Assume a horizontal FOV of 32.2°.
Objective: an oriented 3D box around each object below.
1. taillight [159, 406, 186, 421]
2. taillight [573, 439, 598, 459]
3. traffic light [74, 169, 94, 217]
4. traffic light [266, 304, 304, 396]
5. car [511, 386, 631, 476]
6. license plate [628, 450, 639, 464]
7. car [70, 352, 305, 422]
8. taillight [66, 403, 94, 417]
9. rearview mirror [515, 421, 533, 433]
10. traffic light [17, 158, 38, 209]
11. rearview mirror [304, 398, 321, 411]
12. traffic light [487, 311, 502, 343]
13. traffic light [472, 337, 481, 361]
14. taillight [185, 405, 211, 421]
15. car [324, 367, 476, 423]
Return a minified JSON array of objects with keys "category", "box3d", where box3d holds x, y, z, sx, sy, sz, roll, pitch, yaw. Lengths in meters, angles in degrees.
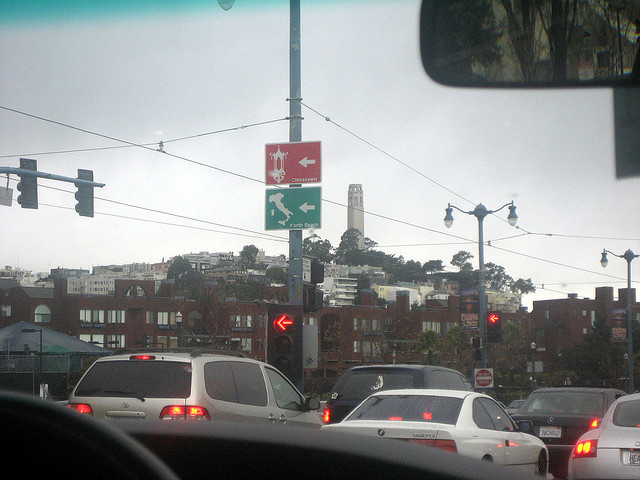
[{"category":"taillight","box3d":[-1.856,2.149,13.986,0.361,0.145,0.211,-4,-7,41]},{"category":"taillight","box3d":[3.448,2.688,14.374,0.283,0.083,0.215,2,32,12]},{"category":"traffic light","box3d":[-5.134,-1.022,24.168,0.374,0.994,0.453,2,-5,-18]},{"category":"traffic light","box3d":[-0.633,1.917,20.115,0.629,1.522,0.421,1,-4,-3]},{"category":"car","box3d":[3.839,2.917,17.690,1.157,1.087,2.901,-1,-2,21]},{"category":"license plate","box3d":[3.931,2.702,13.902,0.028,0.171,0.154,5,-2,-43]},{"category":"car","box3d":[-1.646,1.925,14.862,1.269,1.187,2.274,-2,-1,39]},{"category":"taillight","box3d":[-3.059,2.136,14.217,0.275,0.124,0.667,2,-6,-13]},{"category":"rearview mirror","box3d":[2.826,2.581,15.443,0.158,0.160,0.533,-2,-6,30]},{"category":"traffic light","box3d":[-6.236,-1.199,23.603,0.400,1.069,0.652,2,-5,-16]},{"category":"rearview mirror","box3d":[-0.124,2.379,16.199,0.200,0.115,0.200,-3,0,-39]},{"category":"traffic light","box3d":[5.102,2.508,32.598,0.378,0.873,1.006,0,-5,8]},{"category":"traffic light","box3d":[4.821,3.301,34.145,0.238,0.674,1.077,0,-5,7]},{"category":"taillight","box3d":[-1.535,2.152,13.991,0.352,0.172,0.247,2,-5,-16]},{"category":"car","box3d":[1.314,2.332,18.136,0.910,0.787,1.956,-2,-3,29]}]
